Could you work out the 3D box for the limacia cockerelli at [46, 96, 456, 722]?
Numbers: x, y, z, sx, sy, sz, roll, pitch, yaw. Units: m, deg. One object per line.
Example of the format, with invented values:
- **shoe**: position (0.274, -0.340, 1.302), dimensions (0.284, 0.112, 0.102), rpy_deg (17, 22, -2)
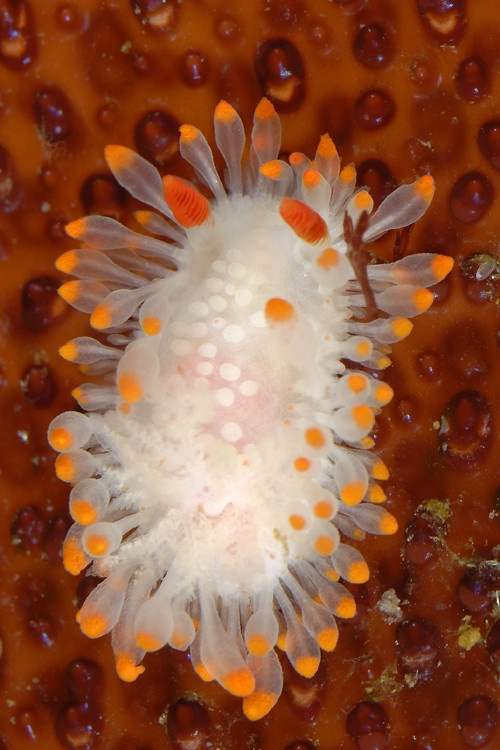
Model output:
- **limacia cockerelli**: position (-0.064, 0.069, 1.996), dimensions (1.078, 0.653, 1.456), rpy_deg (19, 83, 2)
